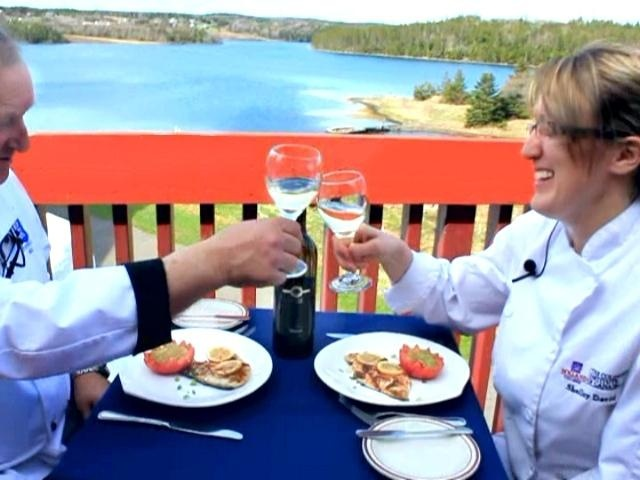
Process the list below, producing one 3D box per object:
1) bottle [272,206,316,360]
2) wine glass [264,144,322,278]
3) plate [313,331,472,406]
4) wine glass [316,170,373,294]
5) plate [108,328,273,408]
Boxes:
[{"bbox_3d":[-0.070,0.132,1.794,0.123,0.440,0.119,3,17,-1],"label":"bottle"},{"bbox_3d":[-0.080,-0.085,1.753,0.130,0.384,0.139,6,18,11],"label":"wine glass"},{"bbox_3d":[0.198,0.342,1.785,0.394,0.151,0.433,-5,12,-32],"label":"plate"},{"bbox_3d":[0.051,-0.019,1.969,0.201,0.386,0.191,1,16,-5],"label":"wine glass"},{"bbox_3d":[-0.322,0.327,1.742,0.394,0.168,0.375,12,15,39],"label":"plate"}]
